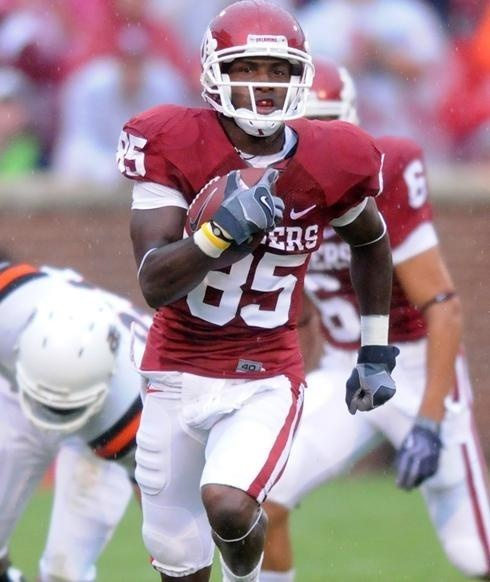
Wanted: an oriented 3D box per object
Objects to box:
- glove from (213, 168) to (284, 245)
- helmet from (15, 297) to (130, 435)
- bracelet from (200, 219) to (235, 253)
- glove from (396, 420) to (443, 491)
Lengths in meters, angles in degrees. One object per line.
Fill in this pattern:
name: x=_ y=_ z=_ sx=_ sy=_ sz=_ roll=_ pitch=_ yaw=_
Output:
glove: x=0.006 y=-0.155 z=1.310 sx=0.128 sy=0.133 sz=0.143 roll=7 pitch=28 yaw=1
helmet: x=-0.530 y=0.242 z=2.284 sx=0.346 sy=0.412 sz=0.356 roll=25 pitch=-19 yaw=-12
bracelet: x=-0.065 y=-0.101 z=1.310 sx=0.055 sy=0.047 sz=0.062 roll=41 pitch=6 yaw=-26
glove: x=0.603 y=0.563 z=2.390 sx=0.159 sy=0.236 sz=0.066 roll=17 pitch=2 yaw=17
